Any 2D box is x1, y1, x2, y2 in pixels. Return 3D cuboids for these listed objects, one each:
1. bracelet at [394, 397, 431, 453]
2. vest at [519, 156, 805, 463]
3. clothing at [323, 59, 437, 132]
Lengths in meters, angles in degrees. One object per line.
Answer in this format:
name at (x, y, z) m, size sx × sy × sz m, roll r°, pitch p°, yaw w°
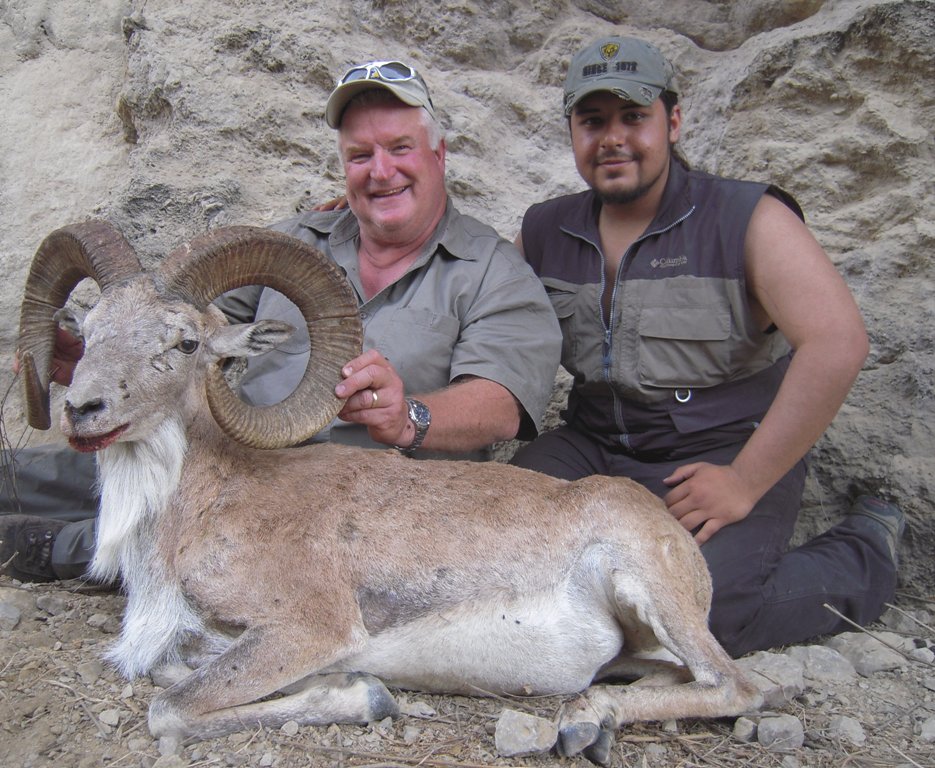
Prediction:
bracelet at (-0.279, 0.194, 5.100) m, size 0.137 × 0.195 × 0.219 m, roll 44°, pitch 14°, yaw 3°
vest at (1.123, -0.375, 5.847) m, size 1.787 × 1.595 × 0.981 m, roll -3°, pitch 28°, yaw 41°
clothing at (-0.518, -1.695, 6.027) m, size 0.540 × 0.294 × 0.653 m, roll -8°, pitch -18°, yaw 23°
